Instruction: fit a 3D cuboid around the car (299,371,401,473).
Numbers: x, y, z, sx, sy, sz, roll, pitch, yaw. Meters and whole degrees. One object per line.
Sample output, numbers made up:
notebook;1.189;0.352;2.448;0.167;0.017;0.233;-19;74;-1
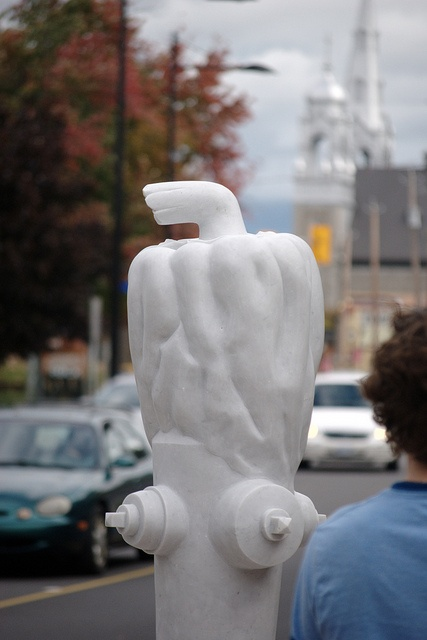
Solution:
car;1.462;1.136;20.391;0.737;0.872;1.770;0;-10;3
